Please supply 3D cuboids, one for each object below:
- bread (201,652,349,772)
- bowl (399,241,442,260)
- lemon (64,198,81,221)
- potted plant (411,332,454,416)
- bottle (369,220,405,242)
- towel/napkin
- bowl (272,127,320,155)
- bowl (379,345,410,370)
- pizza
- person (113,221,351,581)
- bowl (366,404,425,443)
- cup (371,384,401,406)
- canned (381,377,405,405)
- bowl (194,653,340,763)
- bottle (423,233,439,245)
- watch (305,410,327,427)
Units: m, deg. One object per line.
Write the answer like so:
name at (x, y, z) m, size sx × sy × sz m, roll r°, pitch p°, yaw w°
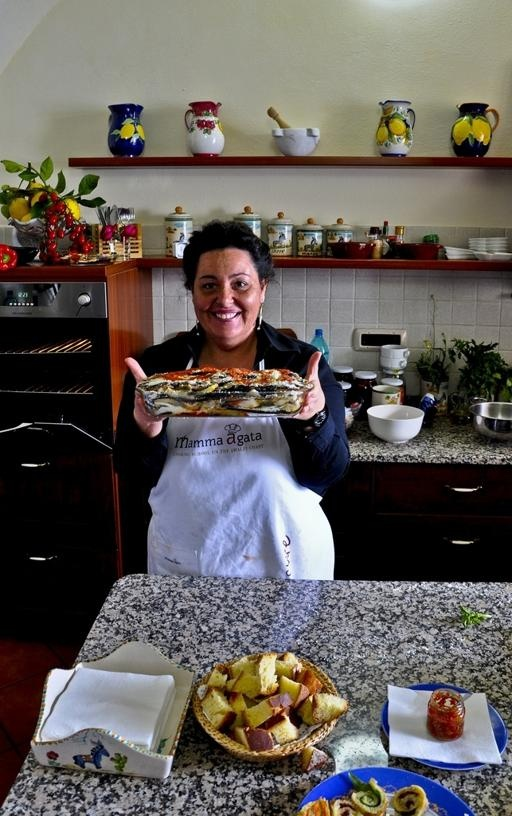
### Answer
bread at (0.012, 0.353, 0.768) m, size 0.157 × 0.079 × 0.167 m, roll -4°, pitch 12°, yaw -24°
bowl at (0.639, -0.612, 2.481) m, size 0.134 × 0.073 × 0.110 m, roll 1°, pitch 11°, yaw 1°
lemon at (-0.686, -0.753, 2.420) m, size 0.044 × 0.080 × 0.067 m, roll -12°, pitch -29°, yaw -12°
potted plant at (0.739, -0.141, 2.631) m, size 0.159 × 0.306 × 0.218 m, roll 3°, pitch 11°, yaw 16°
bottle at (0.528, -0.688, 2.564) m, size 0.123 × 0.106 × 0.126 m, roll 3°, pitch 12°, yaw 15°
towel/napkin at (-0.185, 0.356, 0.763) m, size 0.154 × 0.023 × 0.149 m, roll 1°, pitch 11°, yaw 3°
bowl at (0.156, -1.020, 2.425) m, size 0.126 × 0.071 × 0.129 m, roll -1°, pitch 23°, yaw 0°
bowl at (0.558, -0.202, 2.566) m, size 0.086 × 0.080 × 0.113 m, roll 1°, pitch 4°, yaw 8°
pizza at (-0.062, -0.027, 1.137) m, size 0.223 × 0.067 × 0.122 m, roll 0°, pitch 1°, yaw 1°
person at (-0.064, 0.006, 1.491) m, size 0.558 × 0.894 × 0.523 m, roll 2°, pitch 10°, yaw 9°
bowl at (0.504, 0.064, 2.307) m, size 0.196 × 0.109 × 0.224 m, roll 2°, pitch 11°, yaw 12°
cup at (0.502, -0.048, 2.440) m, size 0.084 × 0.089 × 0.084 m, roll 2°, pitch 13°, yaw 0°
canned at (0.563, -0.070, 2.523) m, size 0.100 × 0.098 × 0.101 m, roll 9°, pitch 13°, yaw 43°
bowl at (0.015, 0.376, 0.804) m, size 0.164 × 0.060 × 0.178 m, roll 2°, pitch -38°, yaw 2°
bottle at (0.712, -0.674, 2.550) m, size 0.052 × 0.045 × 0.069 m, roll -7°, pitch 11°, yaw -32°
watch at (0.136, 0.027, 1.383) m, size 0.041 × 0.023 × 0.031 m, roll -35°, pitch -3°, yaw -15°
